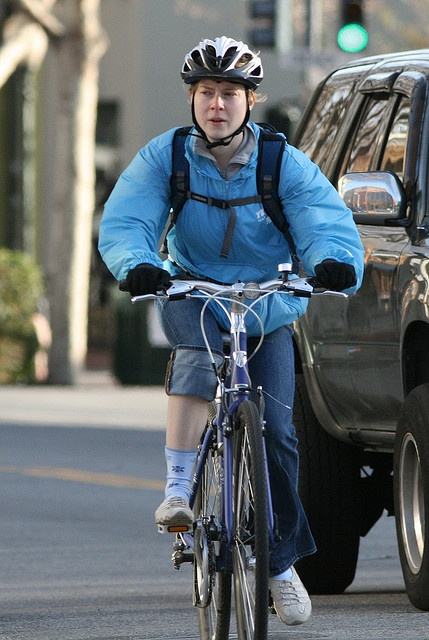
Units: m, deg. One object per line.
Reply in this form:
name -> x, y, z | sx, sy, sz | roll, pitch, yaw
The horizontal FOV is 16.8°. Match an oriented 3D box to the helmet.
helmet -> 0.008, -0.869, 4.973 | 0.248, 0.186, 0.348 | -2, 1, 4

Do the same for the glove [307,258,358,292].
glove -> 0.385, -0.145, 4.615 | 0.089, 0.056, 0.122 | 2, -2, -28

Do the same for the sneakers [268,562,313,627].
sneakers -> 0.246, 0.912, 4.766 | 0.112, 0.123, 0.319 | -9, 14, -7

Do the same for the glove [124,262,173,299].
glove -> -0.225, -0.124, 4.556 | 0.087, 0.058, 0.120 | -3, -7, -27
